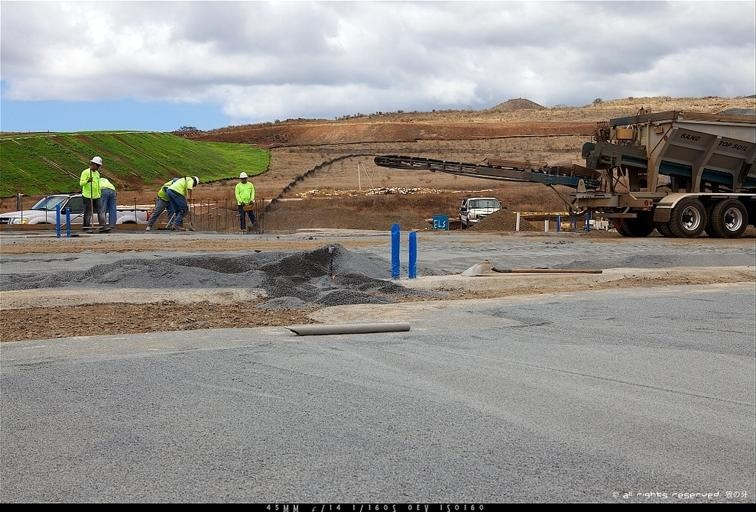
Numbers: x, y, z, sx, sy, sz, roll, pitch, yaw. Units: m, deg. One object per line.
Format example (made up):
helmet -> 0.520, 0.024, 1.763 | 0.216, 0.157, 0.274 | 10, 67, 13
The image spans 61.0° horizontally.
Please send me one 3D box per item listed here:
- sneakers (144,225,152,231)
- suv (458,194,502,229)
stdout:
sneakers -> -9.139, -1.103, 25.609 | 0.165, 0.181, 0.431 | 1, -5, -9
suv -> 5.859, -2.680, 37.073 | 1.462, 1.096, 2.643 | -2, -2, -9
